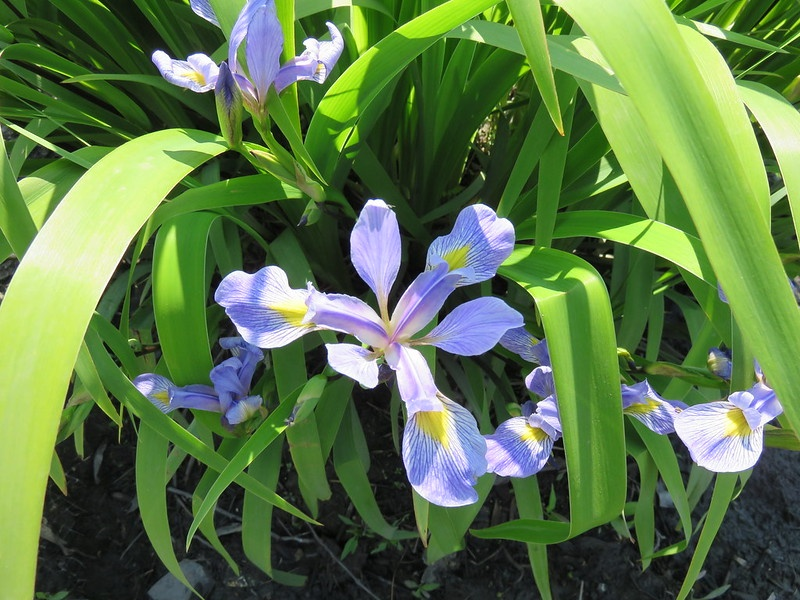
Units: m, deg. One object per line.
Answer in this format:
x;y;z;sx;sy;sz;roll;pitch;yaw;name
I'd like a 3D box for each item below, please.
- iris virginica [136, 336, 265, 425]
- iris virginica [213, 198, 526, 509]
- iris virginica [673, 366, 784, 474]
-0.401;0.148;1.428;0.195;0.104;0.208;33;31;25;iris virginica
-0.021;-0.001;1.311;0.622;0.154;0.713;6;52;-37;iris virginica
0.676;0.219;1.283;0.115;0.298;0.101;-20;81;-58;iris virginica
